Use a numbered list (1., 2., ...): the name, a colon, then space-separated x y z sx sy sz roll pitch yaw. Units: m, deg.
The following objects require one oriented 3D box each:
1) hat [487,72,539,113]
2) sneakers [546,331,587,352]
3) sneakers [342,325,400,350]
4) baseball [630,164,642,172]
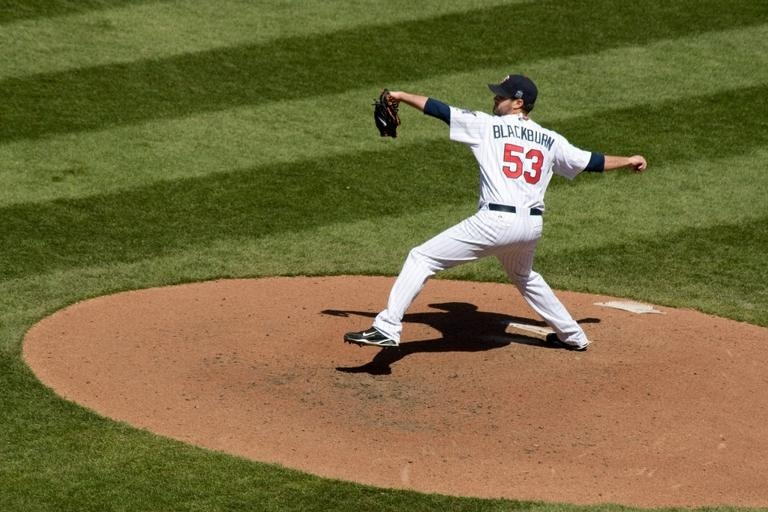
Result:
1. hat: 1.375 -1.738 11.974 0.536 0.269 0.341 22 22 -7
2. sneakers: 1.902 0.941 12.448 0.492 0.144 0.197 12 -14 27
3. sneakers: -0.151 0.821 11.715 0.627 0.225 0.199 7 -5 -5
4. baseball: 2.629 -0.921 12.109 0.146 0.071 0.077 8 7 -25
